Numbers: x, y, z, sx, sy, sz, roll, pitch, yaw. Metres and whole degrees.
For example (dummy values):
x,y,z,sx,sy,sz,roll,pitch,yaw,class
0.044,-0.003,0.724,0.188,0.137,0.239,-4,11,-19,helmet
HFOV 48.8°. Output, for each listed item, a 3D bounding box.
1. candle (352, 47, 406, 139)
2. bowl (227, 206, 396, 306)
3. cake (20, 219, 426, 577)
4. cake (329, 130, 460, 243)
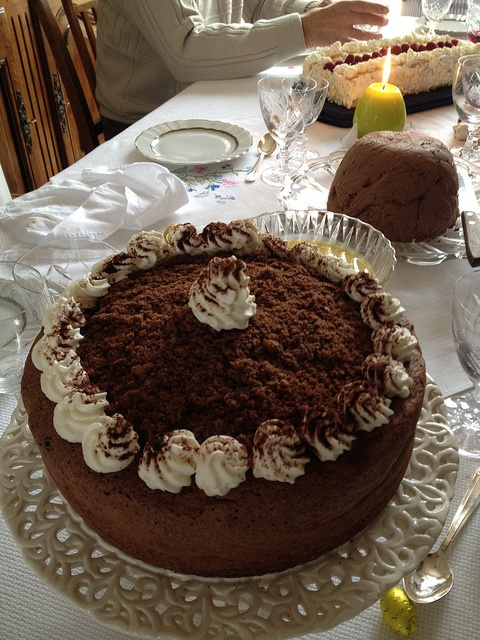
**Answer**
x,y,z,sx,sy,sz,roll,pitch,yaw,class
0.455,-0.718,1.693,0.125,0.252,0.111,-5,45,-1,candle
0.242,-0.201,1.480,0.330,0.074,0.325,18,-8,3,bowl
-0.010,0.040,0.999,0.736,0.330,0.715,16,41,18,cake
0.463,-0.420,1.520,0.417,0.226,0.394,5,37,1,cake
